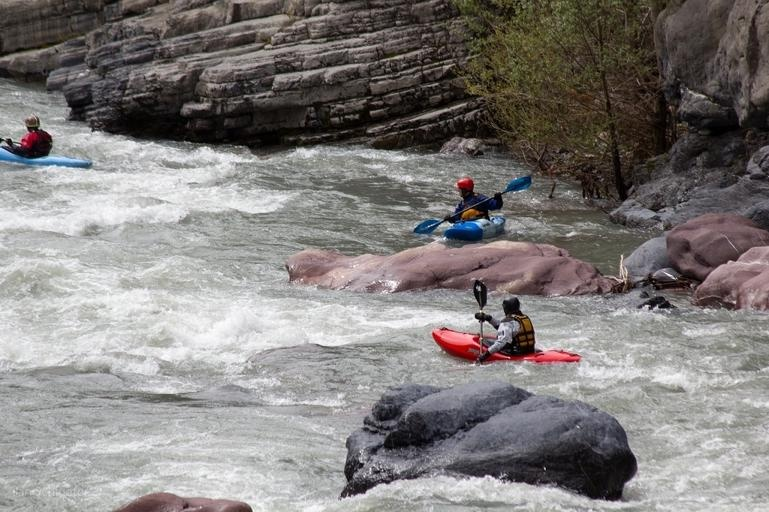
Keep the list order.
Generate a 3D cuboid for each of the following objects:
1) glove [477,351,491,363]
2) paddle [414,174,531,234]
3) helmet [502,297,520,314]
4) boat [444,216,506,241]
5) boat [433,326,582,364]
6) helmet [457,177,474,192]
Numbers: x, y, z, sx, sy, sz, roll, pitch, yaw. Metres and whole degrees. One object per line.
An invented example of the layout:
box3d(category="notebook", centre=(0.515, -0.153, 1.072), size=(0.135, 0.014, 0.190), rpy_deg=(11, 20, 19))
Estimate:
box3d(category="glove", centre=(2.178, 2.198, 28.761), size=(0.295, 0.085, 0.191), rpy_deg=(-30, 26, 1))
box3d(category="paddle", centre=(2.588, -1.456, 38.475), size=(4.455, 0.618, 0.196), rpy_deg=(-24, 42, -11))
box3d(category="helmet", centre=(2.791, 1.064, 28.679), size=(0.453, 0.413, 0.264), rpy_deg=(2, 11, -18))
box3d(category="boat", centre=(2.718, -0.795, 36.391), size=(0.729, 0.354, 1.541), rpy_deg=(-2, 12, 44))
box3d(category="boat", centre=(2.913, 2.031, 28.957), size=(3.686, 0.570, 0.949), rpy_deg=(3, 1, 16))
box3d(category="helmet", centre=(2.295, -1.994, 37.058), size=(0.749, 0.380, 0.446), rpy_deg=(-4, 12, 4))
